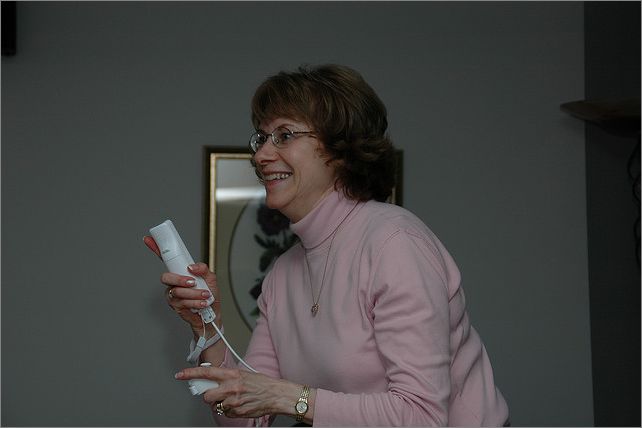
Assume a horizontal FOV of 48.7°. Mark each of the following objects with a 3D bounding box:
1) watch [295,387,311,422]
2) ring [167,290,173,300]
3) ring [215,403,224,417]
[{"bbox_3d":[-0.063,0.653,2.435,0.043,0.111,0.096,6,-22,8],"label":"watch"},{"bbox_3d":[-0.554,0.296,2.593,0.011,0.035,0.024,-1,10,1],"label":"ring"},{"bbox_3d":[-0.358,0.690,2.507,0.030,0.043,0.037,-6,-28,13],"label":"ring"}]
